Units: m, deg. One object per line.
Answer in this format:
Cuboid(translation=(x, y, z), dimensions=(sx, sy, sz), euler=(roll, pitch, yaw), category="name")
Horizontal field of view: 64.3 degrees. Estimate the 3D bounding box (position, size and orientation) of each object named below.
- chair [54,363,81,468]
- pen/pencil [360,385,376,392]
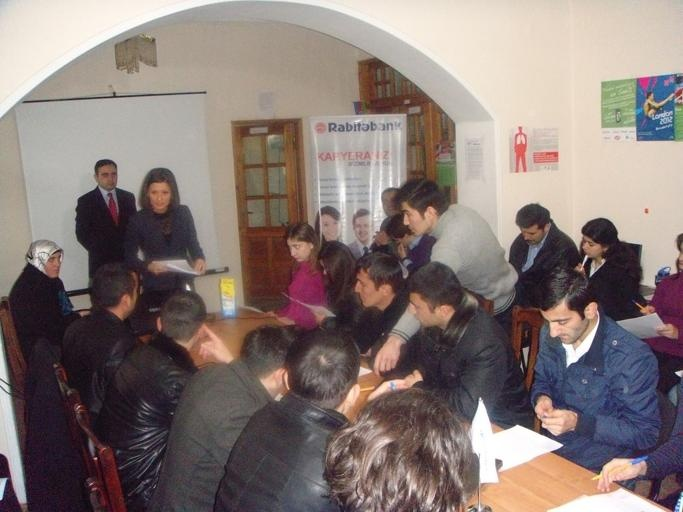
Cuboid(translation=(-1.405, 0.795, 2.774), dimensions=(0.101, 0.103, 0.574), euler=(15, 11, -31), category="chair")
Cuboid(translation=(0.141, 0.713, 2.939), dimensions=(0.011, 0.014, 0.080), euler=(-22, -9, 31), category="pen/pencil")
